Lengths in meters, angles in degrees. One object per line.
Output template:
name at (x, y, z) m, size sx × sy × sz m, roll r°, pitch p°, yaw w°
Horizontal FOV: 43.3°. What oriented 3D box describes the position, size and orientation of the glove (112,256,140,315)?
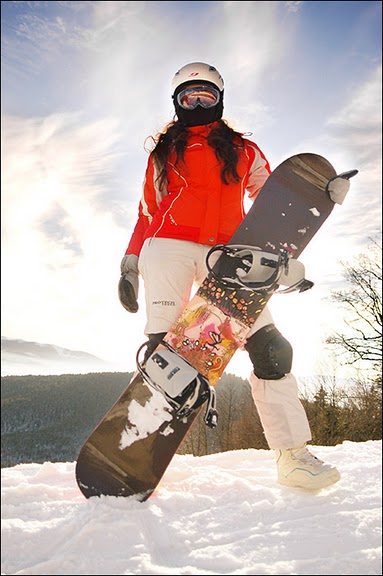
glove at (-0.381, -0.014, 2.923) m, size 0.135 × 0.363 × 0.162 m, roll -1°, pitch 5°, yaw 10°
